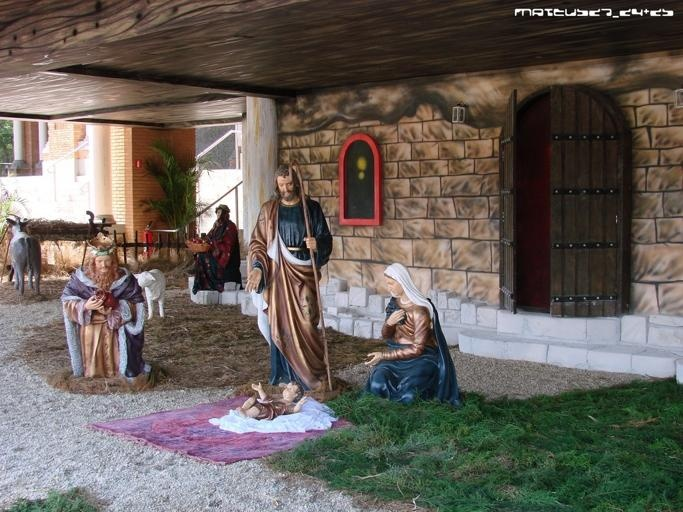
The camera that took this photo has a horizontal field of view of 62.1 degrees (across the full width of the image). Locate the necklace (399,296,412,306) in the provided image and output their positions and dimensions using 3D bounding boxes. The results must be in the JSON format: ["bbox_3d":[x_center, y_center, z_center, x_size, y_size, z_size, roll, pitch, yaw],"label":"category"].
[{"bbox_3d":[0.577,0.400,5.136,0.025,0.086,0.128,-4,5,-43],"label":"necklace"}]

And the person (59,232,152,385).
[{"bbox_3d":[-2.429,0.566,5.856,0.824,1.484,0.450,-2,4,-19],"label":"person"}]

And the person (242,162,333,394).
[{"bbox_3d":[-0.519,0.205,5.611,0.823,2.208,0.410,0,4,0],"label":"person"}]

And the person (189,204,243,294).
[{"bbox_3d":[-2.442,-0.136,10.986,0.989,1.693,0.601,-1,4,-14],"label":"person"}]

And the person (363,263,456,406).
[{"bbox_3d":[0.567,0.759,5.375,0.878,1.380,0.851,-8,19,-13],"label":"person"}]
